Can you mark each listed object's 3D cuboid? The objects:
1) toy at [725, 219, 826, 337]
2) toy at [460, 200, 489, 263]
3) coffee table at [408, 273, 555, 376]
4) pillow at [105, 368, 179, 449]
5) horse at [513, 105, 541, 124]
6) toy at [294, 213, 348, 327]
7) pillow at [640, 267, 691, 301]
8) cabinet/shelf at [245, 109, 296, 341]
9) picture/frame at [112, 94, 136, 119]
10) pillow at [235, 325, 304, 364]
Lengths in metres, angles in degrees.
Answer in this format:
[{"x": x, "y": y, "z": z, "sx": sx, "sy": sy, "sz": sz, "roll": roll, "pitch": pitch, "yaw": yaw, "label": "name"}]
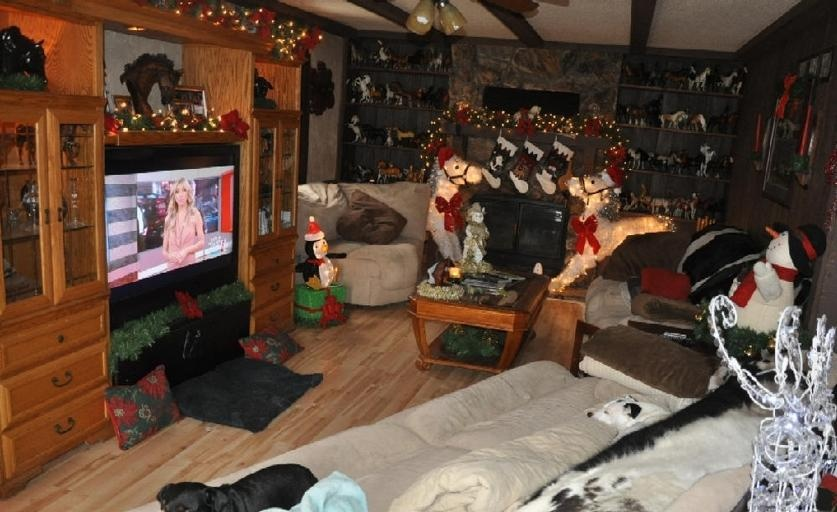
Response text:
[{"x": 2.397, "y": 0.156, "z": 3.731, "sx": 0.489, "sy": 0.705, "sz": 0.378, "roll": 3, "pitch": 15, "yaw": 11, "label": "toy"}, {"x": 0.559, "y": -0.227, "z": 5.672, "sx": 0.233, "sy": 0.632, "sz": 0.337, "roll": 2, "pitch": 15, "yaw": 5, "label": "toy"}, {"x": 0.554, "y": 0.721, "z": 5.208, "sx": 0.888, "sy": 0.514, "sz": 1.193, "roll": 6, "pitch": 19, "yaw": 18, "label": "coffee table"}, {"x": -1.993, "y": 1.105, "z": 4.046, "sx": 0.152, "sy": 0.446, "sz": 0.483, "roll": -16, "pitch": 6, "yaw": 31, "label": "pillow"}, {"x": 1.352, "y": -1.733, "z": 7.087, "sx": 0.306, "sy": 0.139, "sz": 0.302, "roll": -29, "pitch": 29, "yaw": -29, "label": "horse"}, {"x": -1.046, "y": 0.173, "z": 5.850, "sx": 0.528, "sy": 1.110, "sz": 0.300, "roll": -2, "pitch": 15, "yaw": -10, "label": "toy"}, {"x": 2.231, "y": 0.208, "z": 5.092, "sx": 0.336, "sy": 0.089, "sz": 0.309, "roll": 9, "pitch": 26, "yaw": 14, "label": "pillow"}, {"x": -1.406, "y": -0.296, "z": 5.465, "sx": 0.248, "sy": 2.169, "sz": 0.940, "roll": 4, "pitch": 15, "yaw": 14, "label": "cabinet/shelf"}, {"x": -2.234, "y": -1.139, "z": 4.262, "sx": 0.133, "sy": 0.157, "sz": 0.407, "roll": -7, "pitch": 15, "yaw": -26, "label": "picture/frame"}, {"x": -1.381, "y": 0.812, "z": 5.107, "sx": 0.393, "sy": 0.103, "sz": 0.311, "roll": 13, "pitch": 27, "yaw": 8, "label": "pillow"}]
